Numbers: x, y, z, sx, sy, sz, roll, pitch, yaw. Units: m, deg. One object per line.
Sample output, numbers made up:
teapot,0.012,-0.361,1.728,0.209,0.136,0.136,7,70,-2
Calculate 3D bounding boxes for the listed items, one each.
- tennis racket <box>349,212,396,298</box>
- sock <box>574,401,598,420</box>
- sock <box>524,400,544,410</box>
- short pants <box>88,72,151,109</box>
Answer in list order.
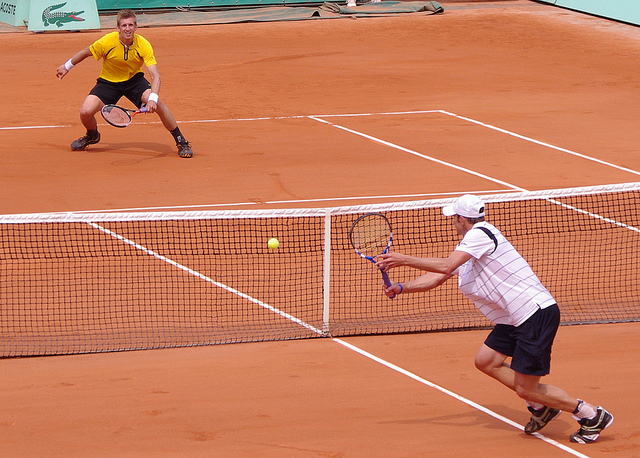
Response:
tennis racket,0.583,0.215,6.804,0.432,0.942,0.075,-26,-14,14
sock,2.343,1.593,6.281,0.219,0.158,0.055,1,22,-13
sock,1.949,1.594,6.472,0.087,0.059,0.197,-1,-10,5
short pants,-3.344,-2.319,11.958,0.988,0.601,0.376,2,21,-7
